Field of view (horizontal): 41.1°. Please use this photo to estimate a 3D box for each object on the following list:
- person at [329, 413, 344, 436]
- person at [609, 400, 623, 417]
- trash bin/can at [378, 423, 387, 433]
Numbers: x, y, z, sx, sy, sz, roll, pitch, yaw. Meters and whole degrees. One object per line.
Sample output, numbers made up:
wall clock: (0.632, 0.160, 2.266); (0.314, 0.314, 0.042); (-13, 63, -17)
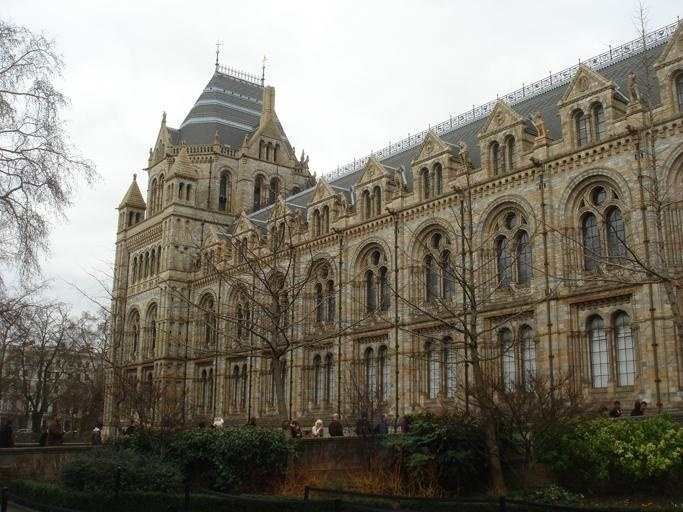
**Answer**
person: (-0.246, 7.769, 41.573); (0.523, 1.089, 1.173); (2, -20, -6)
person: (11.876, 6.615, 39.171); (0.561, 0.678, 0.385); (4, -19, -14)
trash bin/can: (1.808, 7.580, 39.994); (0.324, 0.494, 0.572); (3, -7, -27)
